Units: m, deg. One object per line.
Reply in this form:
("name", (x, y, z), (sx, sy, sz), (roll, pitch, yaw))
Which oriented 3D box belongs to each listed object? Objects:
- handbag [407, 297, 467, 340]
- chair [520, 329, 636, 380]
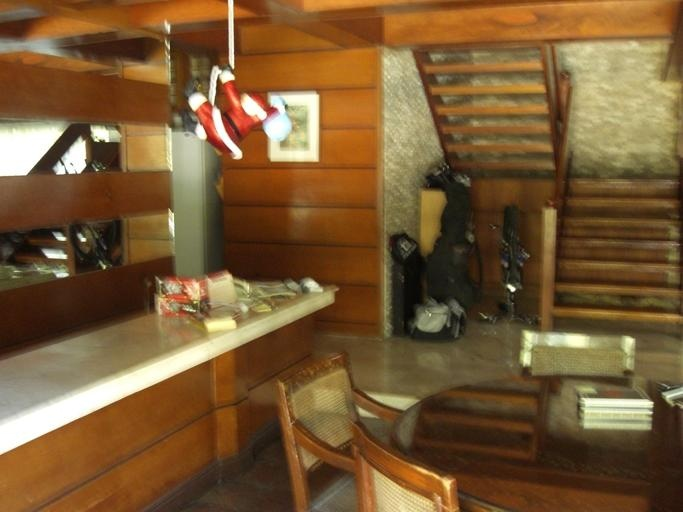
("handbag", (0.983, 0.532, 5.452), (0.517, 0.166, 0.511), (-4, 13, 17))
("chair", (1.260, 0.524, 3.032), (0.649, 0.213, 0.214), (0, 18, -10))
